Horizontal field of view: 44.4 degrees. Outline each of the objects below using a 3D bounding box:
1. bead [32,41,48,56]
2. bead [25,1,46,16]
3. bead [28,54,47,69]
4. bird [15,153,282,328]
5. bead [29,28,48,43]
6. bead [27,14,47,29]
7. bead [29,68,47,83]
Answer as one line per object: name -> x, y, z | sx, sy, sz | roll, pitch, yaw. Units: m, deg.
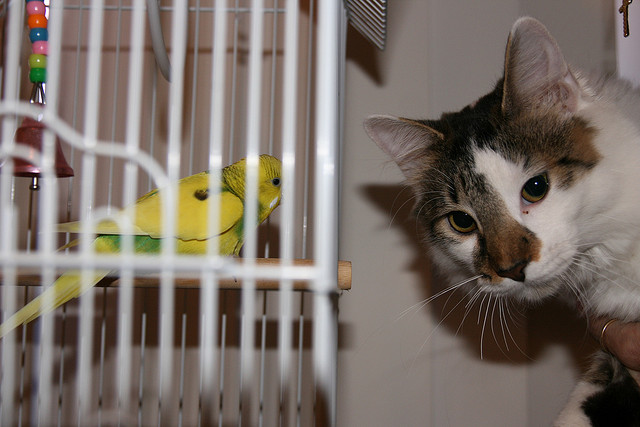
bead -> -0.701, -0.418, 1.979 | 0.037, 0.032, 0.040 | -5, -1, 33
bead -> -0.703, -0.503, 1.950 | 0.031, 0.037, 0.034 | 1, 4, 34
bead -> -0.719, -0.381, 2.018 | 0.040, 0.037, 0.044 | 0, -3, 6
bird -> -0.404, 0.075, 1.994 | 0.704, 0.399, 0.245 | -5, 13, -28
bead -> -0.697, -0.446, 1.957 | 0.035, 0.047, 0.034 | 13, -13, -35
bead -> -0.699, -0.475, 1.944 | 0.030, 0.031, 0.034 | -3, 3, 6
bead -> -0.711, -0.350, 1.993 | 0.041, 0.038, 0.026 | 2, 12, -1
